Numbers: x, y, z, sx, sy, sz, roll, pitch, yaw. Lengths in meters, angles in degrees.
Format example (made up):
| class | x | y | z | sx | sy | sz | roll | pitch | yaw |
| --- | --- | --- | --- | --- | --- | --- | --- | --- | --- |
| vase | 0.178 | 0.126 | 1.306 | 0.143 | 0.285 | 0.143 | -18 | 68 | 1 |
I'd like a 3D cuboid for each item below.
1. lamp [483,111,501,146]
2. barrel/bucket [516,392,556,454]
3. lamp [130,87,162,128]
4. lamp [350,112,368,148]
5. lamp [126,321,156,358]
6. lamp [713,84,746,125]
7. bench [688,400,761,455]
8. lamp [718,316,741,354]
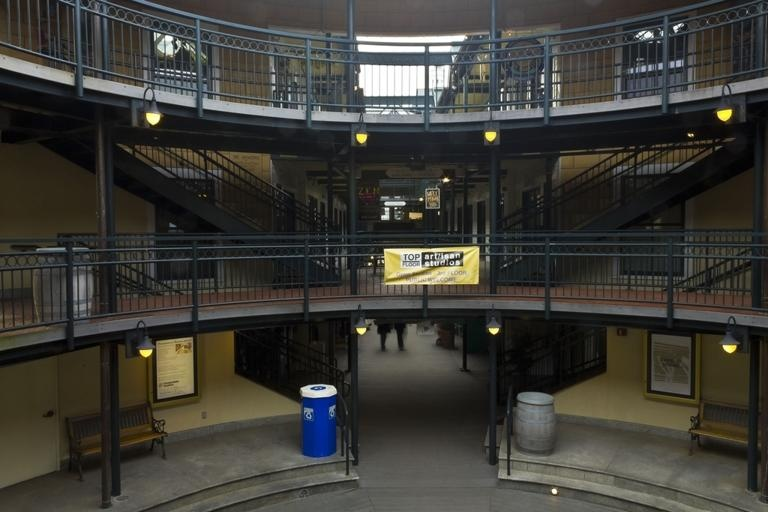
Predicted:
| class | x | y | z | sx | sy | sz | roll | pitch | yaw |
| --- | --- | --- | --- | --- | --- | --- | --- | --- | --- |
| lamp | 2.623 | -3.046 | 18.512 | 0.362 | 0.817 | 0.370 | 0 | 15 | 7 |
| barrel/bucket | 3.723 | 4.021 | 18.647 | 1.261 | 1.369 | 1.221 | 0 | 2 | 0 |
| lamp | -5.098 | -3.151 | 16.403 | 0.591 | 0.811 | 0.833 | -6 | 15 | -17 |
| lamp | -0.512 | -3.014 | 18.538 | 0.476 | 0.799 | 0.387 | -15 | 20 | -42 |
| lamp | -5.097 | 1.768 | 15.988 | 0.525 | 0.733 | 0.629 | -7 | 16 | -21 |
| lamp | 7.516 | -3.261 | 16.642 | 0.638 | 0.914 | 1.159 | 4 | 16 | 22 |
| bench | 8.170 | 4.188 | 18.276 | 0.744 | 1.073 | 1.703 | -13 | 7 | -35 |
| lamp | 7.266 | 1.707 | 16.093 | 0.372 | 0.839 | 0.646 | 5 | 16 | 25 |
